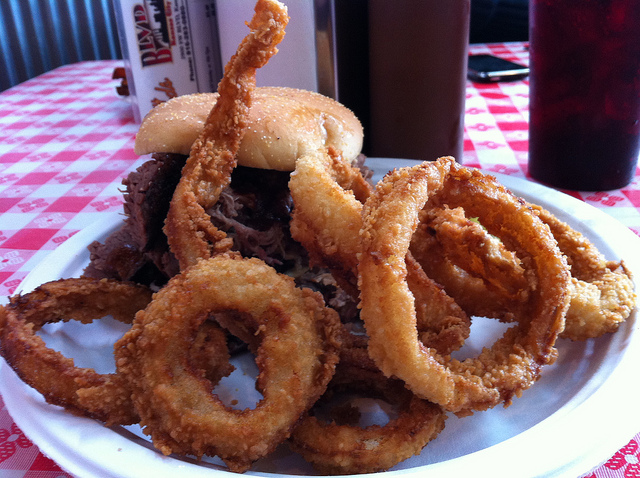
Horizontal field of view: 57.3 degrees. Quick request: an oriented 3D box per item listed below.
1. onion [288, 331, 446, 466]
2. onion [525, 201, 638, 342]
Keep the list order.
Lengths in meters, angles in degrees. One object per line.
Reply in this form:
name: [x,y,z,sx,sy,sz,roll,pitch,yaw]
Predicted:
onion: [0.142,0.400,1.442,0.302,0.247,0.333,14,32,25]
onion: [0.716,0.119,1.732,0.359,0.148,0.390,17,33,-31]
